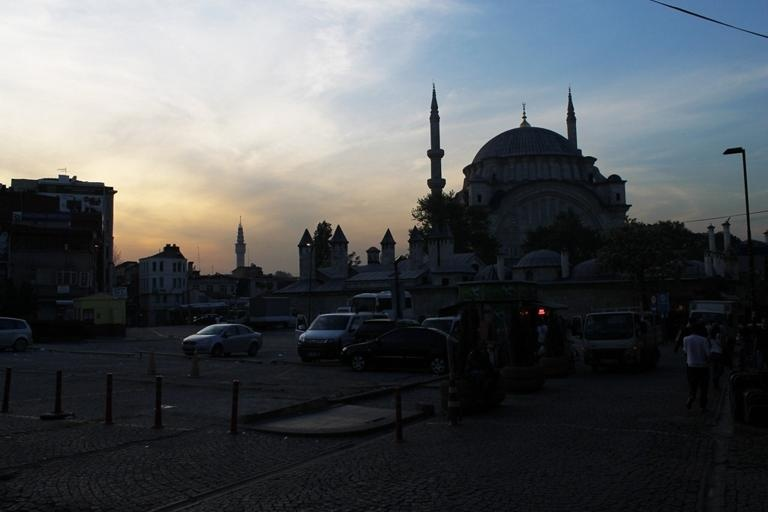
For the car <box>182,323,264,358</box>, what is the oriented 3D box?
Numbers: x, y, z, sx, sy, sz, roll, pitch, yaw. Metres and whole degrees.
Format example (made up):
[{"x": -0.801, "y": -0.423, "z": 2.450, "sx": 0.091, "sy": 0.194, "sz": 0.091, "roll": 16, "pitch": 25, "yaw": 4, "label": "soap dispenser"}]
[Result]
[{"x": -6.933, "y": 3.653, "z": 38.923, "sx": 1.557, "sy": 0.974, "sz": 2.801, "roll": -7, "pitch": -10, "yaw": 40, "label": "car"}]
